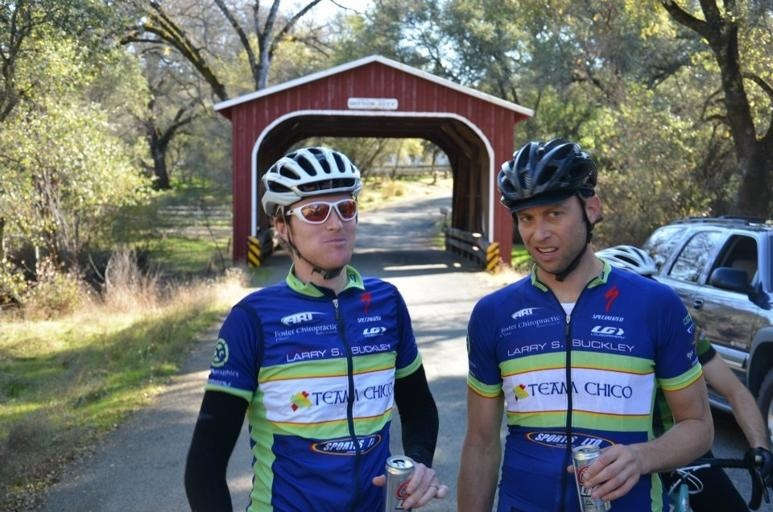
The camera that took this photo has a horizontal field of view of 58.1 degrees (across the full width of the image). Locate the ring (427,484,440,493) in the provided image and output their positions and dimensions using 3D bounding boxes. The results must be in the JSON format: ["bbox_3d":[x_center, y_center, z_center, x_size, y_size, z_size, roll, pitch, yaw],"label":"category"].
[{"bbox_3d":[0.359,1.834,5.492,0.060,0.017,0.060,3,7,0],"label":"ring"}]
